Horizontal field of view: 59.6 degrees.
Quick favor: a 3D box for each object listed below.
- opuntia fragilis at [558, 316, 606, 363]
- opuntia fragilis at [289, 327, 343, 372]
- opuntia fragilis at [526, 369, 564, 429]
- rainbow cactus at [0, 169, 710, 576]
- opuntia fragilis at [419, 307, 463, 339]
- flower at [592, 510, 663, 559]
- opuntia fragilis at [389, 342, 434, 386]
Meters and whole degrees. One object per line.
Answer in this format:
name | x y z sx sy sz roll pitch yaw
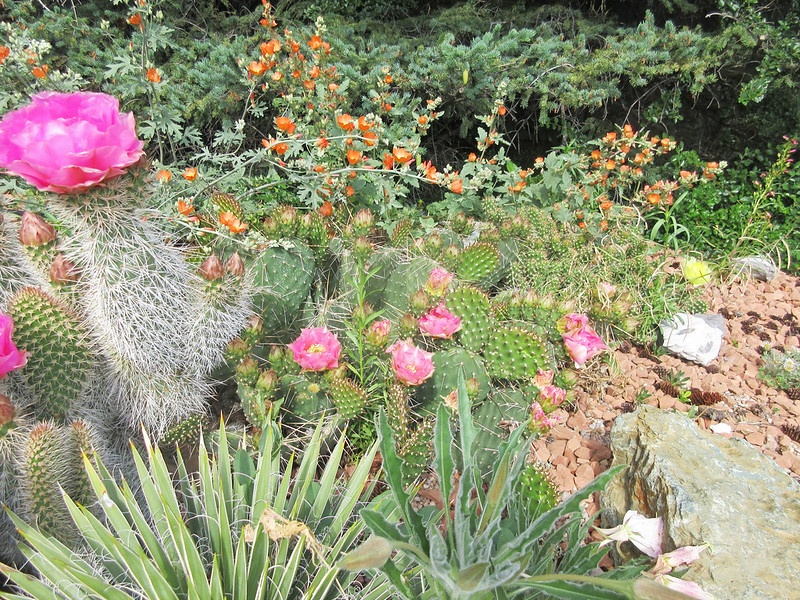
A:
opuntia fragilis | 0.736 0.158 2.873 0.171 0.120 0.208 -11 35 0
opuntia fragilis | -0.325 0.205 2.669 0.162 0.172 0.171 -14 39 -37
opuntia fragilis | 0.566 0.382 2.717 0.140 0.215 0.230 -5 9 8
rainbow cactus | -0.333 0.241 2.656 1.667 0.973 1.285 7 -8 -28
opuntia fragilis | 0.155 0.082 2.742 0.125 0.067 0.138 -8 61 -8
flower | 0.751 0.729 2.298 0.195 0.178 0.050 35 51 -13
opuntia fragilis | 0.041 0.249 2.602 0.151 0.137 0.109 22 31 14
